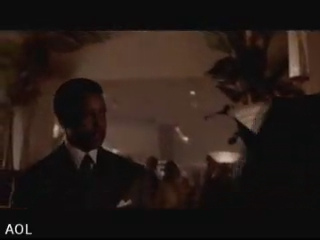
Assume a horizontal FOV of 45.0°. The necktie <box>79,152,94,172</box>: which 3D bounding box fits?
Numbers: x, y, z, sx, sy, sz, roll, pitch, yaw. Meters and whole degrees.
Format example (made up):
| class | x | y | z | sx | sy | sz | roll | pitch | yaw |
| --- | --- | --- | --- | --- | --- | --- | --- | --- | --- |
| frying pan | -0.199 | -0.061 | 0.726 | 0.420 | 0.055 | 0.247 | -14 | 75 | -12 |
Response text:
| class | x | y | z | sx | sy | sz | roll | pitch | yaw |
| --- | --- | --- | --- | --- | --- | --- | --- | --- | --- |
| necktie | -0.732 | 0.429 | 3.879 | 0.142 | 0.191 | 0.018 | 2 | -8 | 9 |
